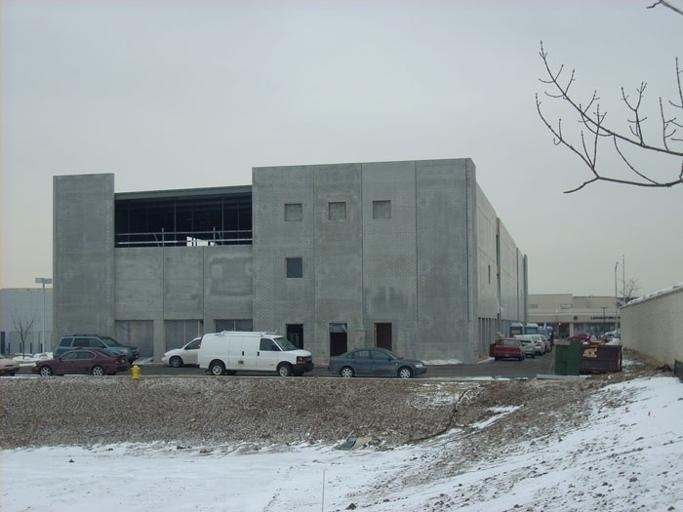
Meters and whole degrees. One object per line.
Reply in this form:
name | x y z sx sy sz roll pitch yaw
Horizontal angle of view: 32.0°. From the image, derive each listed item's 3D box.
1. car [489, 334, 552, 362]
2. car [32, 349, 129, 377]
car | 11.001 5.885 75.405 1.642 1.315 4.953 -1 -1 21
car | -13.390 5.634 61.282 3.360 1.614 5.043 3 -2 9
